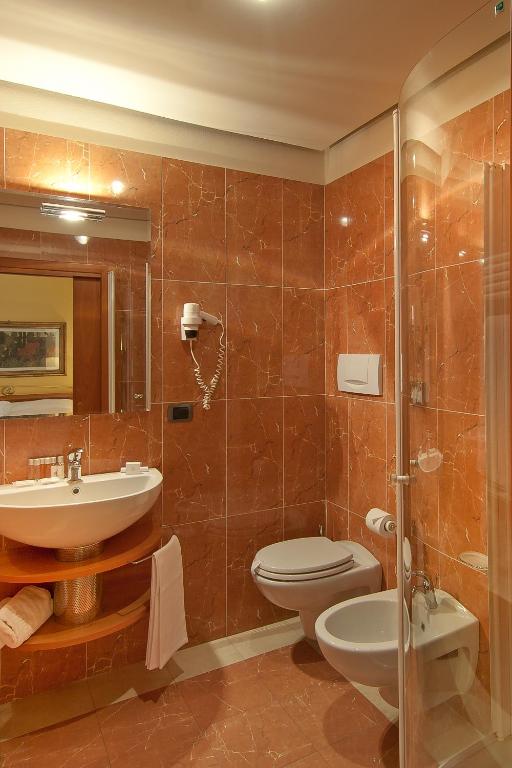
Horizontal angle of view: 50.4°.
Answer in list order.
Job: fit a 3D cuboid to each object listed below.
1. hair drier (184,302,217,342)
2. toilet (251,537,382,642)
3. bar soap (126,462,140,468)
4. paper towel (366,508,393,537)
[{"bbox_3d":[-0.208,-0.262,2.228,0.161,0.185,0.088,-3,4,-40],"label":"hair drier"},{"bbox_3d":[0.236,0.722,2.173,0.430,0.394,0.340,-5,7,-27],"label":"toilet"},{"bbox_3d":[-0.478,0.317,2.100,0.051,0.026,0.027,-1,2,-16],"label":"bar soap"},{"bbox_3d":[0.445,0.496,1.942,0.066,0.072,0.132,-1,3,-24],"label":"paper towel"}]
